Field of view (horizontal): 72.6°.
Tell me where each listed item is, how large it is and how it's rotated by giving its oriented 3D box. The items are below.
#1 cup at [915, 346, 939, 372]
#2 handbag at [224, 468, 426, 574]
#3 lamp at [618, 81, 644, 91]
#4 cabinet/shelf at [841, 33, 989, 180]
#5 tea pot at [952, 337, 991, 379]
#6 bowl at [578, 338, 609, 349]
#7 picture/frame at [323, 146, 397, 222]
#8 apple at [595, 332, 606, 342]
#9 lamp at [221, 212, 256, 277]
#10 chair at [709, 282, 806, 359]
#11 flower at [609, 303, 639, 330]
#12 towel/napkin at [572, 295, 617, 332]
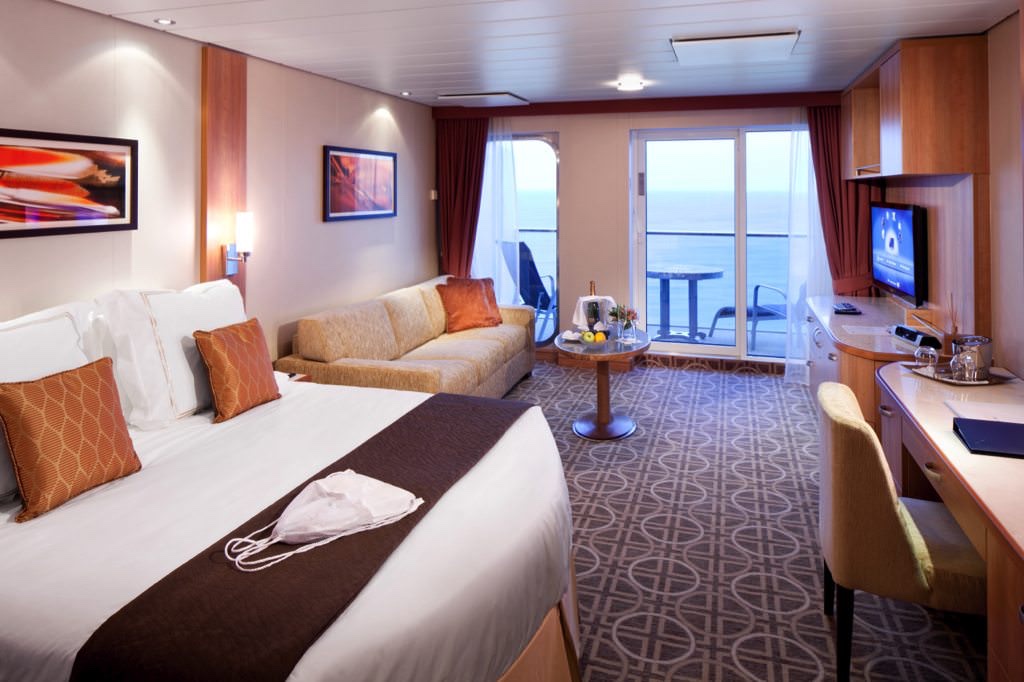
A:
[{"bbox_3d":[2.435,0.113,4.197,0.132,0.161,0.129,-2,3,0],"label":"cup"},{"bbox_3d":[-0.810,0.776,3.028,0.372,0.097,0.498,15,18,38],"label":"handbag"},{"bbox_3d":[1.061,-2.324,6.360,0.136,0.034,0.134,-4,5,-42],"label":"lamp"},{"bbox_3d":[2.855,-1.673,4.932,0.348,0.612,1.157,0,6,7],"label":"cabinet/shelf"},{"bbox_3d":[2.639,0.099,4.032,0.242,0.266,0.209,-3,2,9],"label":"tea pot"},{"bbox_3d":[0.678,0.029,5.823,0.225,0.073,0.180,-1,12,5],"label":"bowl"},{"bbox_3d":[-1.400,-1.473,6.542,0.060,0.659,1.182,2,13,23],"label":"picture/frame"},{"bbox_3d":[0.728,-0.032,5.843,0.072,0.080,0.075,-21,-9,39],"label":"apple"},{"bbox_3d":[-1.983,-0.723,5.234,0.195,0.464,0.368,0,12,11],"label":"lamp"},{"bbox_3d":[2.633,-0.239,7.776,0.774,0.736,0.632,0,12,13],"label":"chair"},{"bbox_3d":[0.950,-0.196,6.117,0.331,0.229,0.212,-11,14,-34],"label":"flower"},{"bbox_3d":[0.729,-0.257,6.352,0.325,0.343,0.342,3,7,24],"label":"towel/napkin"}]
